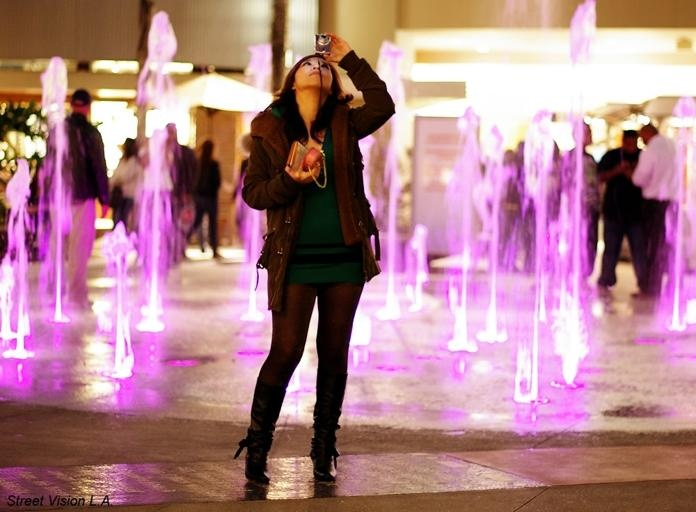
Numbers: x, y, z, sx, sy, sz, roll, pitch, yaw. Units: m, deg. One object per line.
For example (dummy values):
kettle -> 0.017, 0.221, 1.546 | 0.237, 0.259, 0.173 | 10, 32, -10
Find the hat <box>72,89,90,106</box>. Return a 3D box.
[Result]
hat -> -2.846, -1.674, 10.680 | 0.174, 0.138, 0.175 | 1, 1, -41

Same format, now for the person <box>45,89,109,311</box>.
person -> -2.764, -0.592, 10.557 | 0.397, 2.313, 0.597 | -2, 6, -18

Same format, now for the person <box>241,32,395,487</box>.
person -> -0.213, -0.008, 5.624 | 0.849, 2.472, 0.516 | 0, 6, -2

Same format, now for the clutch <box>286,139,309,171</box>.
clutch -> -0.270, -0.548, 5.412 | 0.034, 0.146, 0.147 | -2, -18, 29
